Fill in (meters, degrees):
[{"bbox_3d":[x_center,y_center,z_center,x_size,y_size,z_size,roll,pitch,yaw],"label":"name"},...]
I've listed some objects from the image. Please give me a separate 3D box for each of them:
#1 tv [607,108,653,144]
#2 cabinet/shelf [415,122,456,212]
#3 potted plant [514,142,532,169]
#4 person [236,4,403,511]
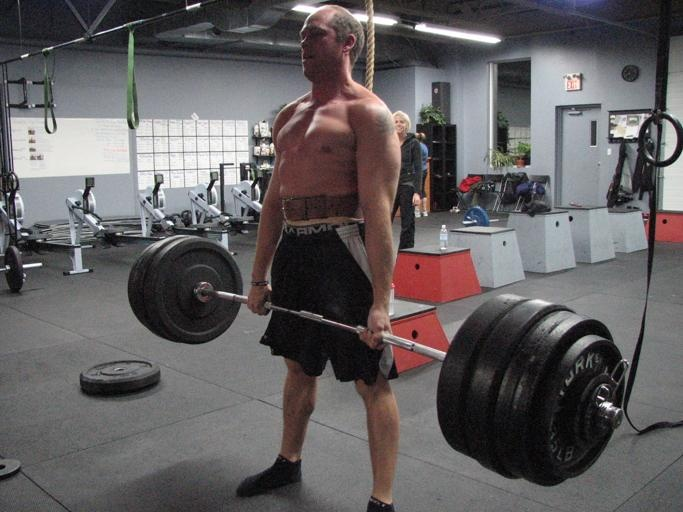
[{"bbox_3d":[6.526,-2.945,10.635,0.124,0.778,0.843,-32,30,-34],"label":"tv"},{"bbox_3d":[2.680,-2.125,13.440,1.085,3.121,0.830,-5,9,-29],"label":"cabinet/shelf"},{"bbox_3d":[5.039,-2.797,12.947,0.386,0.673,1.236,2,10,20],"label":"potted plant"},{"bbox_3d":[-0.014,-0.036,1.972,0.592,1.800,0.775,1,3,39],"label":"person"}]
